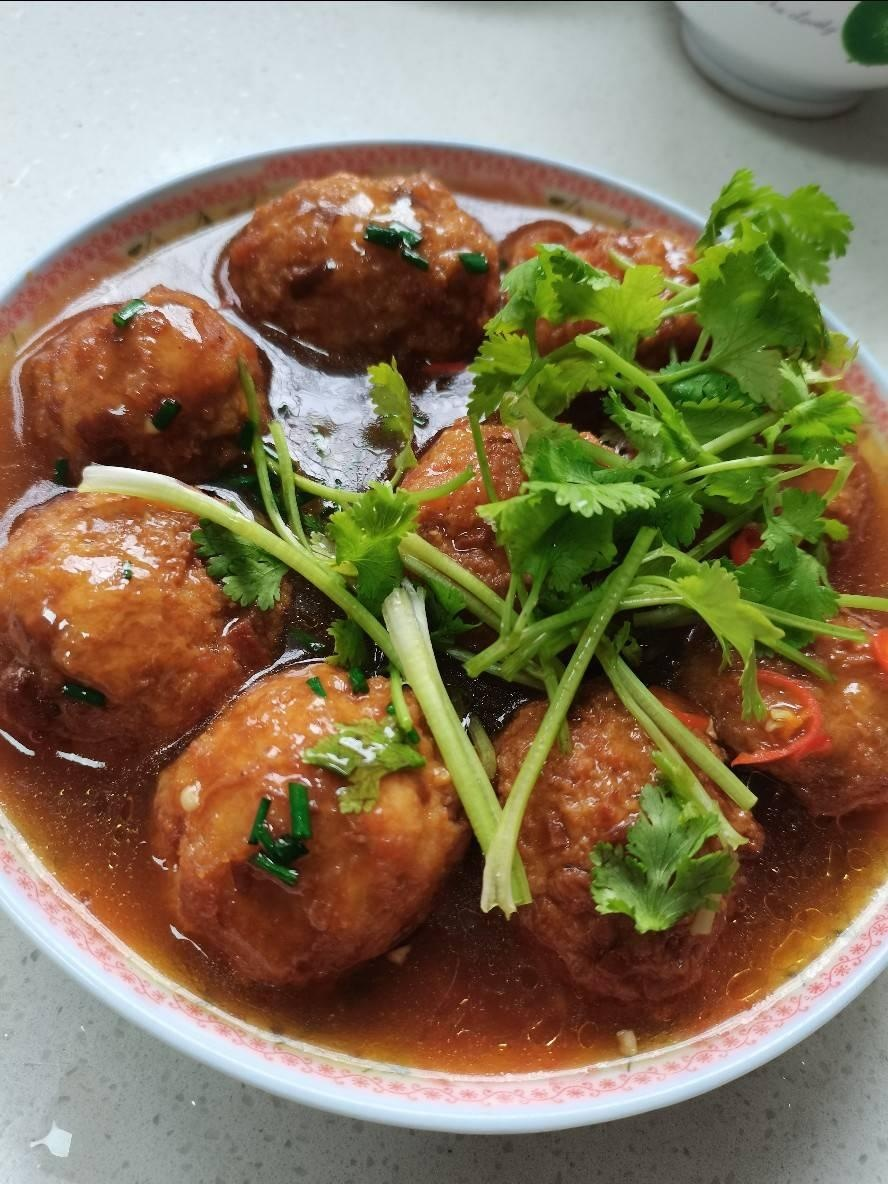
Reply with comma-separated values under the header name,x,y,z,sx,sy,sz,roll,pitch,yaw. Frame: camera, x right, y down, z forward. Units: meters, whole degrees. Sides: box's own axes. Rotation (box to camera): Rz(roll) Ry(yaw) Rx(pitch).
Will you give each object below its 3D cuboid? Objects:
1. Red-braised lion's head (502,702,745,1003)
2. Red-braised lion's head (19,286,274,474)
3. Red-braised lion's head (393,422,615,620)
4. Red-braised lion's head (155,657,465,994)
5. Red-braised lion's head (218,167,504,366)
name,x,y,z,sx,sy,sz,roll,pitch,yaw
Red-braised lion's head,0.289,0.456,2.177,0.503,0.201,0.496,0,90,-5
Red-braised lion's head,-0.594,-0.405,2.464,0.426,0.254,0.397,34,70,-4
Red-braised lion's head,0.030,-0.190,2.335,0.511,0.302,0.458,-9,23,-20
Red-braised lion's head,-0.237,0.401,2.108,0.524,0.316,0.430,-27,54,-12
Red-braised lion's head,-0.144,-0.725,2.646,0.655,0.332,0.405,13,64,9
